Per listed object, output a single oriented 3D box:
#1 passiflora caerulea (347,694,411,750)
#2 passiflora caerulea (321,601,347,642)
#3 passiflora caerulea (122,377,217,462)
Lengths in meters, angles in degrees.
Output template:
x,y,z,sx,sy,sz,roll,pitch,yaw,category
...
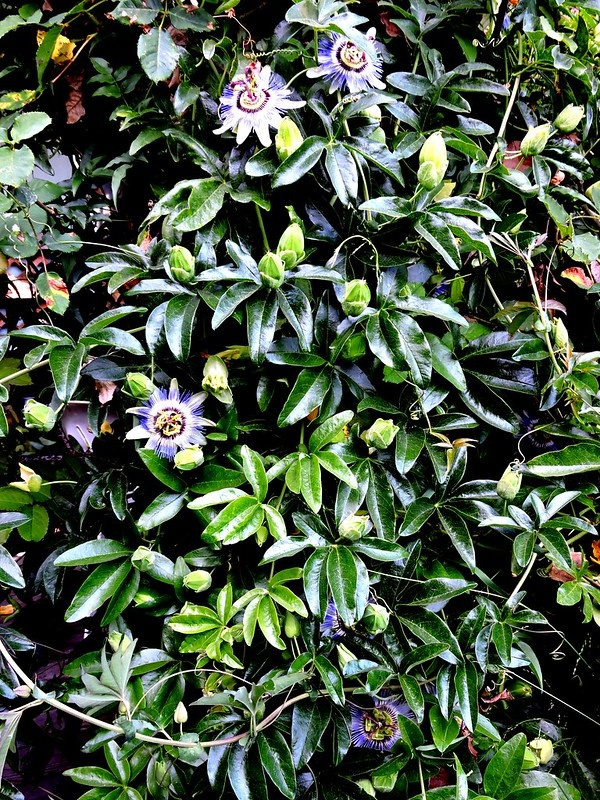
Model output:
x,y,z,sx,sy,sz,roll,pitch,yaw,category
0.114,0.434,1.262,0.084,0.084,0.033,60,16,-12,passiflora caerulea
0.038,0.286,1.184,0.030,0.029,0.048,0,39,-35,passiflora caerulea
-0.168,0.024,1.177,0.107,0.072,0.100,23,31,-3,passiflora caerulea
